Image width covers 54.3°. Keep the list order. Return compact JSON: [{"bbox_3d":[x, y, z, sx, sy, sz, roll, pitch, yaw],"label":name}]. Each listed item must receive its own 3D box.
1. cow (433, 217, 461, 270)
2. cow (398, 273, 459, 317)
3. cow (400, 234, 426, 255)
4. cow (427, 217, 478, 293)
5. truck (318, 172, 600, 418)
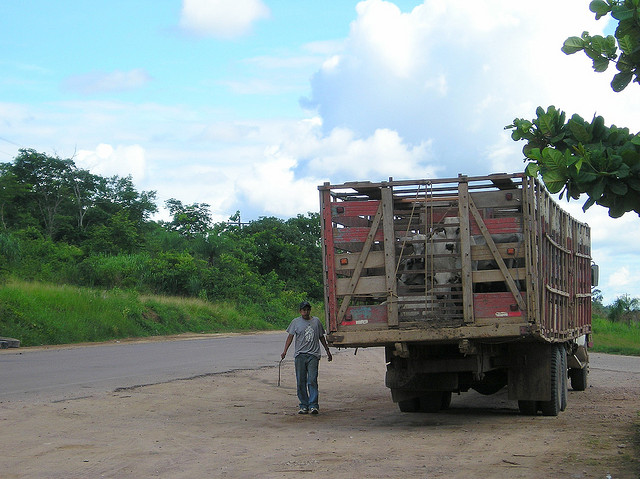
[{"bbox_3d":[1.967,0.051,9.707,0.415,0.822,0.284,-1,-6,10],"label":"cow"},{"bbox_3d":[1.683,0.848,9.695,0.929,0.674,0.602,-1,-7,10],"label":"cow"},{"bbox_3d":[1.451,0.062,9.812,0.379,0.347,0.377,0,-7,4],"label":"cow"},{"bbox_3d":[2.036,0.258,9.606,1.203,1.154,0.287,2,1,11],"label":"cow"},{"bbox_3d":[2.732,0.990,11.534,3.226,2.959,5.739,-1,-2,18],"label":"truck"}]
